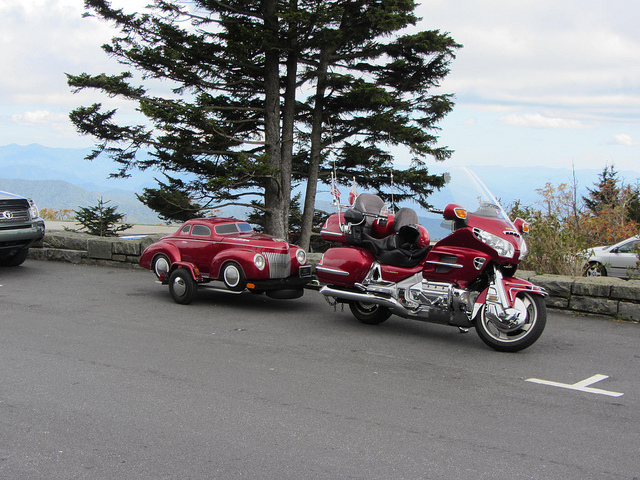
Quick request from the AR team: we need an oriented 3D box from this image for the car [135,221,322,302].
[{"bbox_3d":[-1.984,0.461,9.311,3.402,1.736,1.164,4,6,20],"label":"car"}]
